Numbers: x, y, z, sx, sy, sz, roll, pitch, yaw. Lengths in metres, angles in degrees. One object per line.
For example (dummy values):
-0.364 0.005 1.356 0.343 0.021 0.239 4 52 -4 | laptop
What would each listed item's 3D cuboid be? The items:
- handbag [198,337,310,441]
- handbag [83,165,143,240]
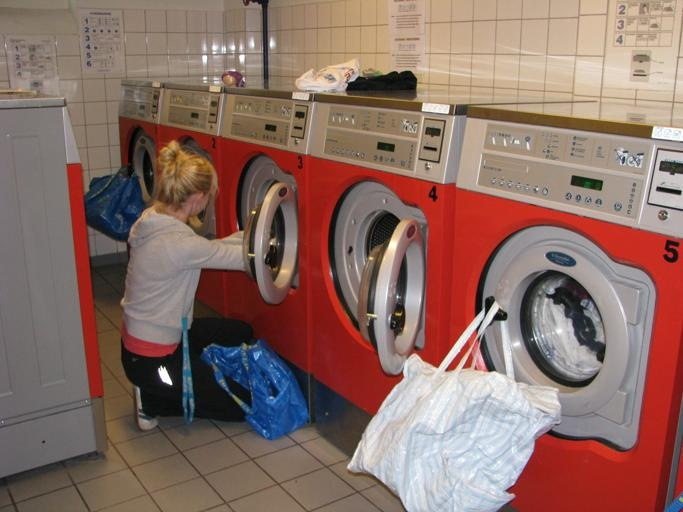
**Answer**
-0.397 0.614 2.439 0.385 0.500 0.187 -35 8 -19 | handbag
-1.707 -0.420 3.845 0.217 0.436 0.549 29 2 -44 | handbag
